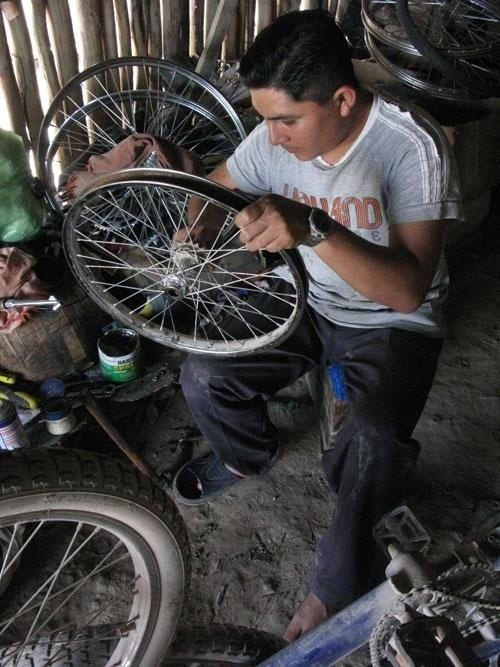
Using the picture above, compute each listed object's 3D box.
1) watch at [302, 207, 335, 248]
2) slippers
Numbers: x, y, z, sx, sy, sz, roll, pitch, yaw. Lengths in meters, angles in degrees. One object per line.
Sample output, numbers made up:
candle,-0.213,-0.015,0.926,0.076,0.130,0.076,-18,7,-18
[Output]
watch,0.154,-0.248,1.334,0.066,0.087,0.079,-3,51,-14
slippers,-0.133,0.543,2.261,0.484,0.190,0.163,0,44,0
